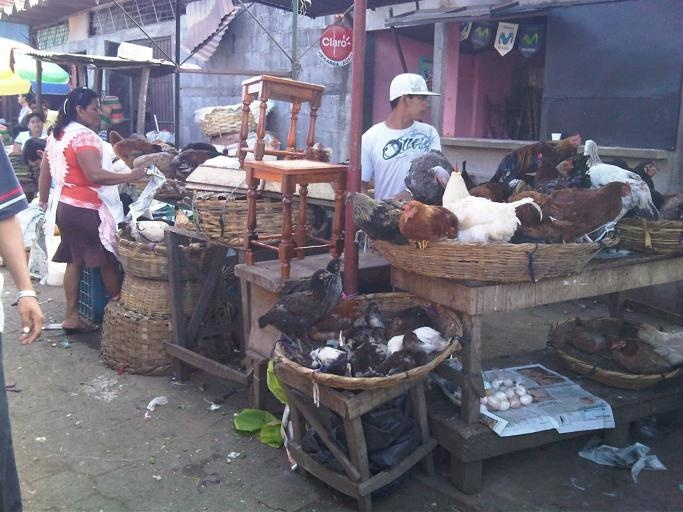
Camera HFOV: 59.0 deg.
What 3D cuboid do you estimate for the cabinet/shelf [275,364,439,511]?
[{"bbox_3d":[0.044,0.945,3.793,0.914,0.781,0.892,-10,13,-40],"label":"cabinet/shelf"}]

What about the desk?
[{"bbox_3d":[-0.367,-0.616,4.410,0.738,1.381,1.126,-1,10,-10],"label":"desk"}]

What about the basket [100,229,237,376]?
[{"bbox_3d":[-1.406,0.247,5.513,1.226,1.208,1.249,13,14,18],"label":"basket"}]

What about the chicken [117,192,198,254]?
[{"bbox_3d":[-1.730,-0.288,5.386,0.594,0.232,0.540,26,22,39],"label":"chicken"}]

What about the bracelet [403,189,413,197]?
[{"bbox_3d":[0.434,-0.407,3.932,0.046,0.057,0.057,-6,9,-3],"label":"bracelet"}]

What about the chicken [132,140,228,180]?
[{"bbox_3d":[-1.528,-0.903,5.685,0.726,0.332,0.429,-8,10,-10],"label":"chicken"}]

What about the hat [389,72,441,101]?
[{"bbox_3d":[0.536,-1.280,4.537,0.334,0.168,0.235,2,19,11],"label":"hat"}]

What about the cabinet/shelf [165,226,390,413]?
[{"bbox_3d":[-0.485,0.307,4.943,1.267,1.420,1.955,7,12,39],"label":"cabinet/shelf"}]

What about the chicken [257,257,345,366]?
[{"bbox_3d":[-0.220,0.309,3.772,0.652,0.638,0.307,4,4,-1],"label":"chicken"}]
